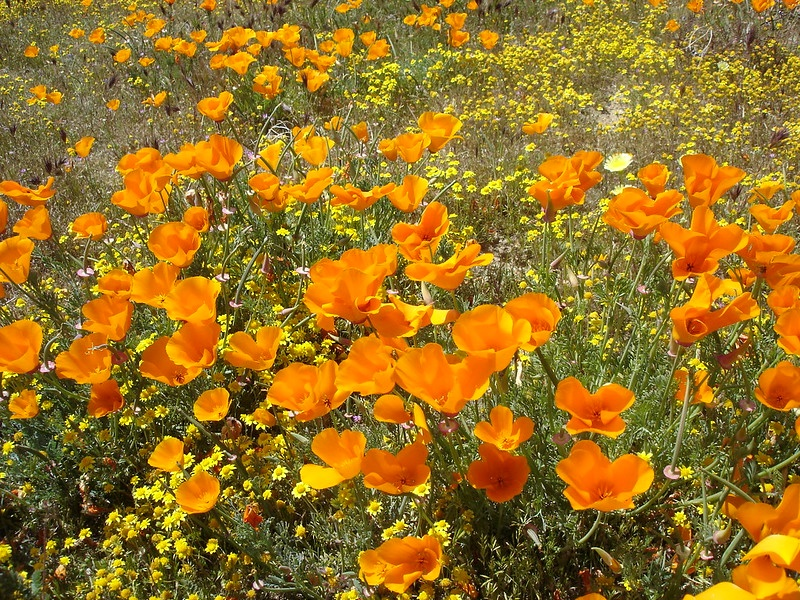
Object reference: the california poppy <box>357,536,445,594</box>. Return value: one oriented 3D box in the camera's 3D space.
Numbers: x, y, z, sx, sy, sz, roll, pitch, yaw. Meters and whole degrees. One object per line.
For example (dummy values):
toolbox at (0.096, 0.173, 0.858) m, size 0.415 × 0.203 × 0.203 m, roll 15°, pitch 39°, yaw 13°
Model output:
california poppy at (0.017, 1.038, 3.028) m, size 0.251 × 0.131 × 0.247 m, roll -10°, pitch 26°, yaw -17°
